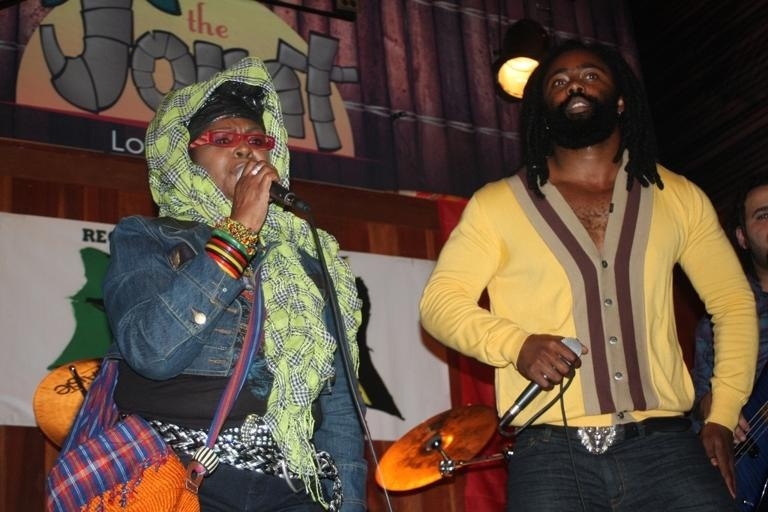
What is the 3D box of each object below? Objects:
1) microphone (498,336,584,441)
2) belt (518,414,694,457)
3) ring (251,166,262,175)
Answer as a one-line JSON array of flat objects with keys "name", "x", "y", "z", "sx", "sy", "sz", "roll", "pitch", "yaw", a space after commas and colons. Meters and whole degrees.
[{"name": "microphone", "x": 0.719, "y": 0.599, "z": 4.269, "sx": 0.149, "sy": 0.503, "sz": 0.133, "roll": 38, "pitch": -6, "yaw": -18}, {"name": "belt", "x": 1.099, "y": 0.804, "z": 4.292, "sx": 0.448, "sy": 0.107, "sz": 0.271, "roll": -6, "pitch": -10, "yaw": -5}, {"name": "ring", "x": -0.581, "y": -0.390, "z": 4.243, "sx": 0.024, "sy": 0.044, "sz": 0.011, "roll": 21, "pitch": -34, "yaw": 14}]
